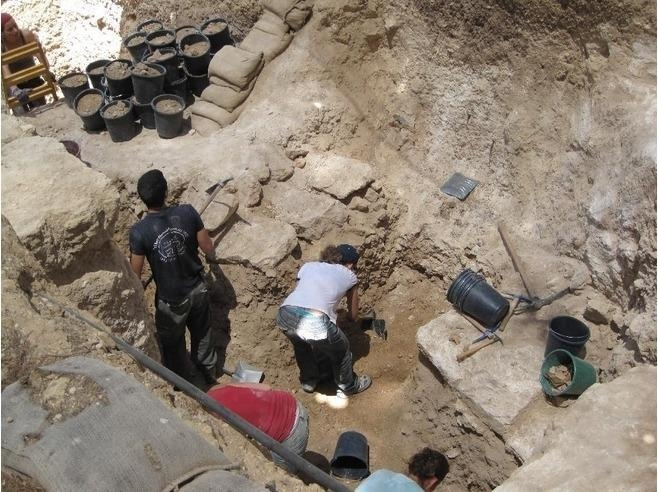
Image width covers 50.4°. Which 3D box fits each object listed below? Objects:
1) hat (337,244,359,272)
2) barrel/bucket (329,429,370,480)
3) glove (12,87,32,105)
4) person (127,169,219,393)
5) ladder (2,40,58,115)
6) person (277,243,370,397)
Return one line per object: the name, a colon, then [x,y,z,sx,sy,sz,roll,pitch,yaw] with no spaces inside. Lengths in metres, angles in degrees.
hat: [0.184,0.113,7.105,0.173,0.158,0.261,30,33,8]
barrel/bucket: [0.215,2.008,6.820,0.336,0.409,0.411,10,21,11]
glove: [-4.586,-2.231,10.469,0.243,0.180,0.092,42,11,-20]
person: [-1.539,0.324,7.143,0.807,2.652,0.740,-25,45,-28]
ladder: [-4.553,-2.511,10.581,0.750,0.999,0.502,-16,50,-26]
person: [-0.068,0.807,7.167,0.660,1.608,0.997,19,21,37]
